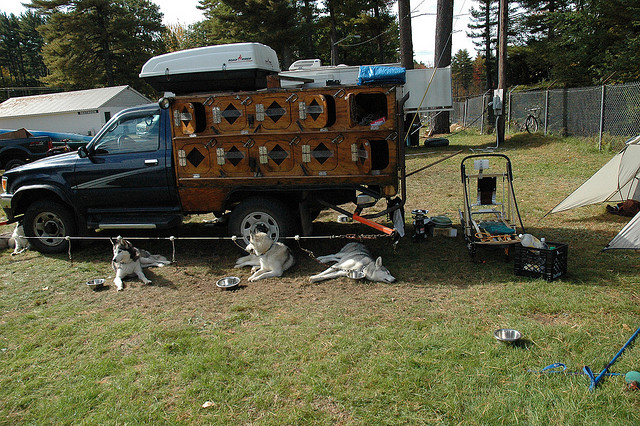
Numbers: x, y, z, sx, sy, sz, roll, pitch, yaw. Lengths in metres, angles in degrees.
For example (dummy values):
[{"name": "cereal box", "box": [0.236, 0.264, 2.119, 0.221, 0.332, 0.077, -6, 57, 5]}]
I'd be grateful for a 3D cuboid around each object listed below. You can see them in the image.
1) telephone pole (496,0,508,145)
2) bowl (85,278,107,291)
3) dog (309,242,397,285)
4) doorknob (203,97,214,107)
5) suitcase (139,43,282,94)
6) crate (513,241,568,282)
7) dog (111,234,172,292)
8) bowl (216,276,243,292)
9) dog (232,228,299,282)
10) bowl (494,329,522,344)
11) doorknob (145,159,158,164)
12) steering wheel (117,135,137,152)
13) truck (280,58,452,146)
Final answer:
[{"name": "telephone pole", "box": [7.730, -5.887, 21.775, 0.299, 5.826, 1.112, 1, 12, 19]}, {"name": "bowl", "box": [-3.949, 1.256, 9.137, 0.241, 0.087, 0.244, 4, 2, 0]}, {"name": "dog", "box": [0.628, 0.942, 9.268, 1.216, 0.456, 0.705, 22, 16, 37]}, {"name": "doorknob", "box": [-2.052, -2.060, 9.533, 0.144, 0.141, 0.041, 36, 10, 15]}, {"name": "suitcase", "box": [-2.058, -2.563, 9.628, 2.038, 0.549, 1.069, -2, 7, 8]}, {"name": "crate", "box": [4.107, 0.848, 9.035, 1.158, 0.502, 1.046, 3, -1, -5]}, {"name": "dog", "box": [-3.387, 0.844, 9.514, 0.971, 0.880, 1.190, -1, 10, 7]}, {"name": "bowl", "box": [-1.604, 1.241, 9.035, 0.335, 0.183, 0.340, -2, 10, 0]}, {"name": "dog", "box": [-0.986, 0.767, 9.473, 1.055, 0.637, 1.054, -3, 3, -21]}, {"name": "bowl", "box": [2.709, 1.768, 7.410, 0.361, 0.142, 0.232, -1, 10, 8]}, {"name": "doorknob", "box": [-3.236, -0.985, 9.890, 0.250, 0.088, 0.035, 0, 12, 13]}, {"name": "steering wheel", "box": [-3.817, -1.358, 10.182, 0.312, 0.348, 0.324, 1, 8, 0]}, {"name": "truck", "box": [1.387, -3.773, 18.380, 6.250, 2.516, 1.842, 0, 19, 6]}]
